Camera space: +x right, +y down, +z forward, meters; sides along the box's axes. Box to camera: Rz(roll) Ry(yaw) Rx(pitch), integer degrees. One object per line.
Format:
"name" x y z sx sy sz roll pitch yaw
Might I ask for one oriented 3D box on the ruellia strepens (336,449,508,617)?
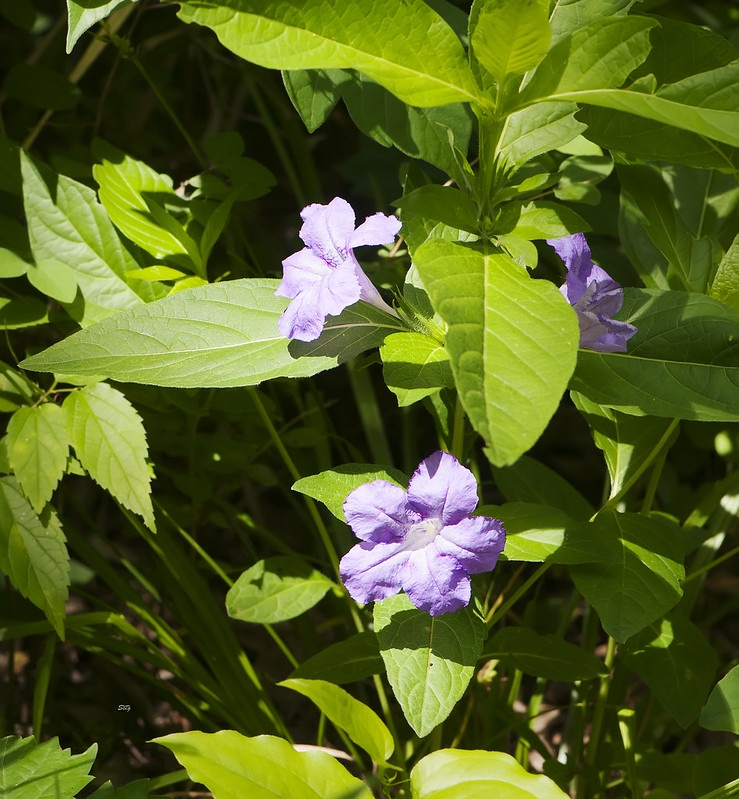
"ruellia strepens" 0.054 0.191 1.278 0.231 0.273 0.076 -62 18 -11

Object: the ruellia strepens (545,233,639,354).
"ruellia strepens" 0.331 -0.150 1.316 0.079 0.186 0.164 -40 16 34
